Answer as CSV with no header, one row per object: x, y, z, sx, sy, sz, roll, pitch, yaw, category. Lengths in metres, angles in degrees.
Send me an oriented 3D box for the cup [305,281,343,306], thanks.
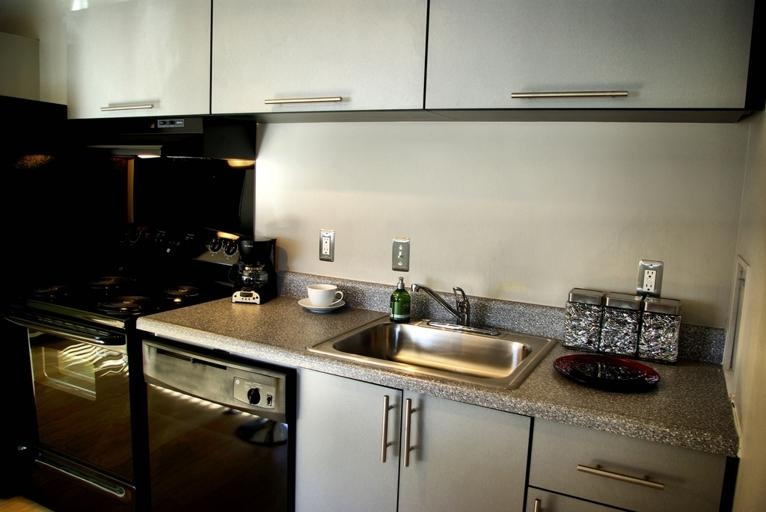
-0.281,0.184,2.695,0.106,0.073,0.133,-3,-5,39,cup

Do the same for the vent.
-1.160,-0.602,2.915,1.020,0.251,0.365,3,8,15,vent

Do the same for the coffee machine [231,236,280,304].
-0.655,0.071,2.844,0.233,0.319,0.227,-1,8,-15,coffee machine

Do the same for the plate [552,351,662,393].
0.831,0.443,2.080,0.344,0.065,0.285,7,10,37,plate
